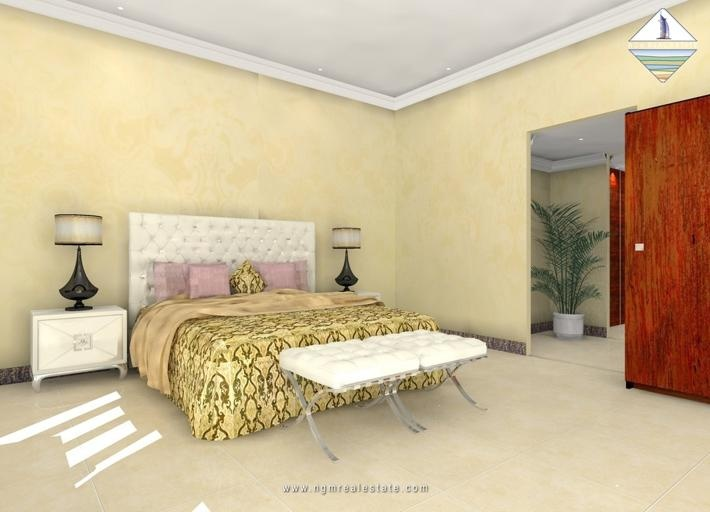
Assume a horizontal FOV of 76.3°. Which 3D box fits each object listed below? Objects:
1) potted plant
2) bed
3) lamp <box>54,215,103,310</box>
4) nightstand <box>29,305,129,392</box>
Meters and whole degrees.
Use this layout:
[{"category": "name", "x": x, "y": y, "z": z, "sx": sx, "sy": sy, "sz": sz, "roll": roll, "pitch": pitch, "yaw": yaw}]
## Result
[{"category": "potted plant", "x": 3.305, "y": 0.199, "z": 7.105, "sx": 1.014, "sy": 2.075, "sz": 1.280, "roll": 7, "pitch": 12, "yaw": 36}, {"category": "bed", "x": -0.808, "y": 0.449, "z": 4.766, "sx": 2.551, "sy": 1.606, "sz": 2.518, "roll": -3, "pitch": 5, "yaw": -42}, {"category": "lamp", "x": -2.783, "y": 0.062, "z": 4.582, "sx": 0.425, "sy": 0.983, "sz": 0.443, "roll": -7, "pitch": 12, "yaw": -33}, {"category": "nightstand", "x": -2.681, "y": 0.793, "z": 4.524, "sx": 1.037, "sy": 0.874, "sz": 0.665, "roll": -2, "pitch": 6, "yaw": -31}]
